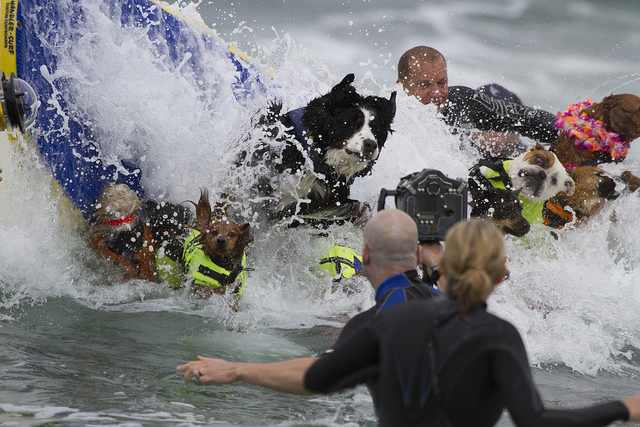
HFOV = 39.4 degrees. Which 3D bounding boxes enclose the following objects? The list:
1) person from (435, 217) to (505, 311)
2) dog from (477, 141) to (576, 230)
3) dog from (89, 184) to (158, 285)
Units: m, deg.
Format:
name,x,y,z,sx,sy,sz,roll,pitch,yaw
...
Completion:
name,x,y,z,sx,sy,sz,roll,pitch,yaw
person,1.328,0.400,8.359,0.752,0.922,0.680,5,4,2
dog,2.874,-0.499,12.400,0.934,1.053,1.339,-29,8,6
dog,-2.556,0.131,12.347,0.548,2.004,0.886,-21,-50,10
